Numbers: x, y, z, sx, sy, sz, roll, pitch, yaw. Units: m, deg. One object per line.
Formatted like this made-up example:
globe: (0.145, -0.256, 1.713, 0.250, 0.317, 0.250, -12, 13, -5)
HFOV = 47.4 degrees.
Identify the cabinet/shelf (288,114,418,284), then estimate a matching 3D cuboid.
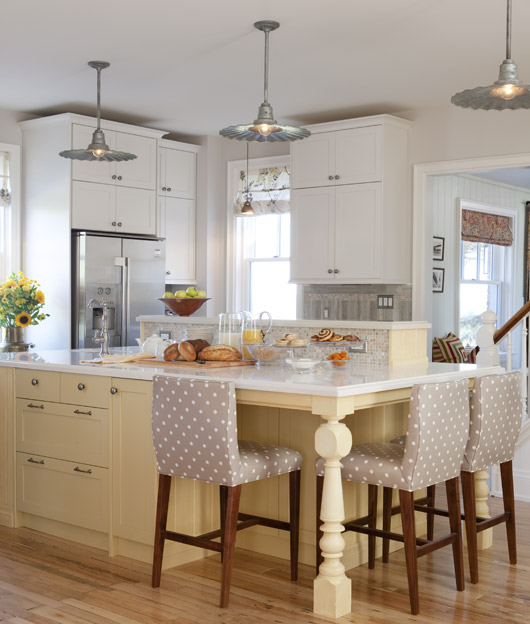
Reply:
cabinet/shelf: (0.708, -0.898, 5.015, 1.035, 1.345, 0.637, 0, -6, 7)

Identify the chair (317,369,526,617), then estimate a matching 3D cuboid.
chair: (0.573, 0.674, 2.263, 0.559, 0.864, 0.974, 0, 0, 40)

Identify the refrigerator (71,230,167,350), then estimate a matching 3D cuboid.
refrigerator: (-1.294, -0.165, 5.303, 0.687, 0.998, 0.376, -6, 19, -33)

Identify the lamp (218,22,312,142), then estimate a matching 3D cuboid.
lamp: (0.006, -1.268, 3.293, 0.552, 0.565, 0.507, 7, 31, 12)

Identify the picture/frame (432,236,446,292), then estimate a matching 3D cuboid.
picture/frame: (1.950, -0.531, 6.742, 0.054, 0.657, 0.273, -4, -7, 38)

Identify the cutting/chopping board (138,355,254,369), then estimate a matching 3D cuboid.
cutting/chopping board: (-0.363, 0.230, 2.785, 0.595, 0.053, 0.300, -4, -7, 36)

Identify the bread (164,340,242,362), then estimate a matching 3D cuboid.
bread: (-0.285, 0.187, 2.781, 0.220, 0.064, 0.156, 0, -4, 20)

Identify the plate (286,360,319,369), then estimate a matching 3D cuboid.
plate: (0.151, 0.212, 2.442, 0.119, 0.041, 0.192, 0, -5, 2)

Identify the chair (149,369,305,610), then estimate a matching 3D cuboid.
chair: (-0.199, 0.633, 2.235, 0.473, 0.793, 0.534, -3, -6, 28)

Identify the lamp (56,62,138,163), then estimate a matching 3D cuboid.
lamp: (-1.111, -1.359, 4.070, 0.659, 0.602, 0.621, 9, 16, 18)

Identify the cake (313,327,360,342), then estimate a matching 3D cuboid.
cake: (0.311, 0.108, 2.565, 0.129, 0.037, 0.093, 1, -3, -26)
